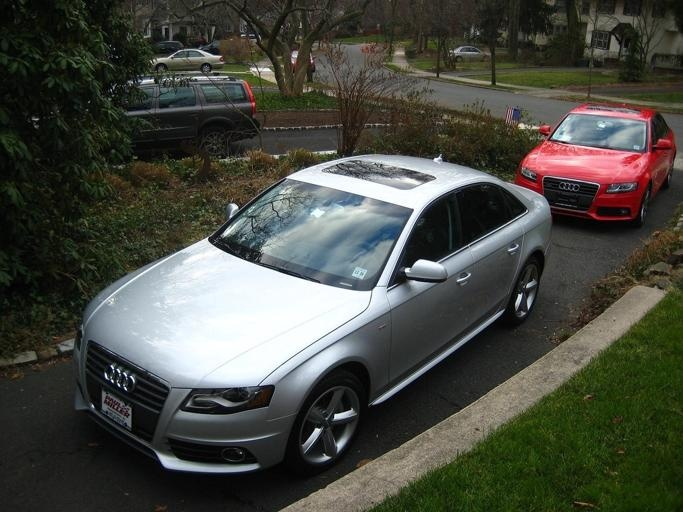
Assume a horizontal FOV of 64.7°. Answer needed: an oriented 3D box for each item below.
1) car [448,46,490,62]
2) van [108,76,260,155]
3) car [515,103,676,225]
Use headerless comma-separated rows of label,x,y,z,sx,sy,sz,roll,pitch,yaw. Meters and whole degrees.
car,14.914,-23.608,62.924,5.404,1.611,1.449,-16,25,-32
van,-3.753,-3.460,14.000,4.281,1.888,2.028,-4,20,-25
car,5.271,-1.872,11.042,2.189,1.999,3.654,17,27,39
